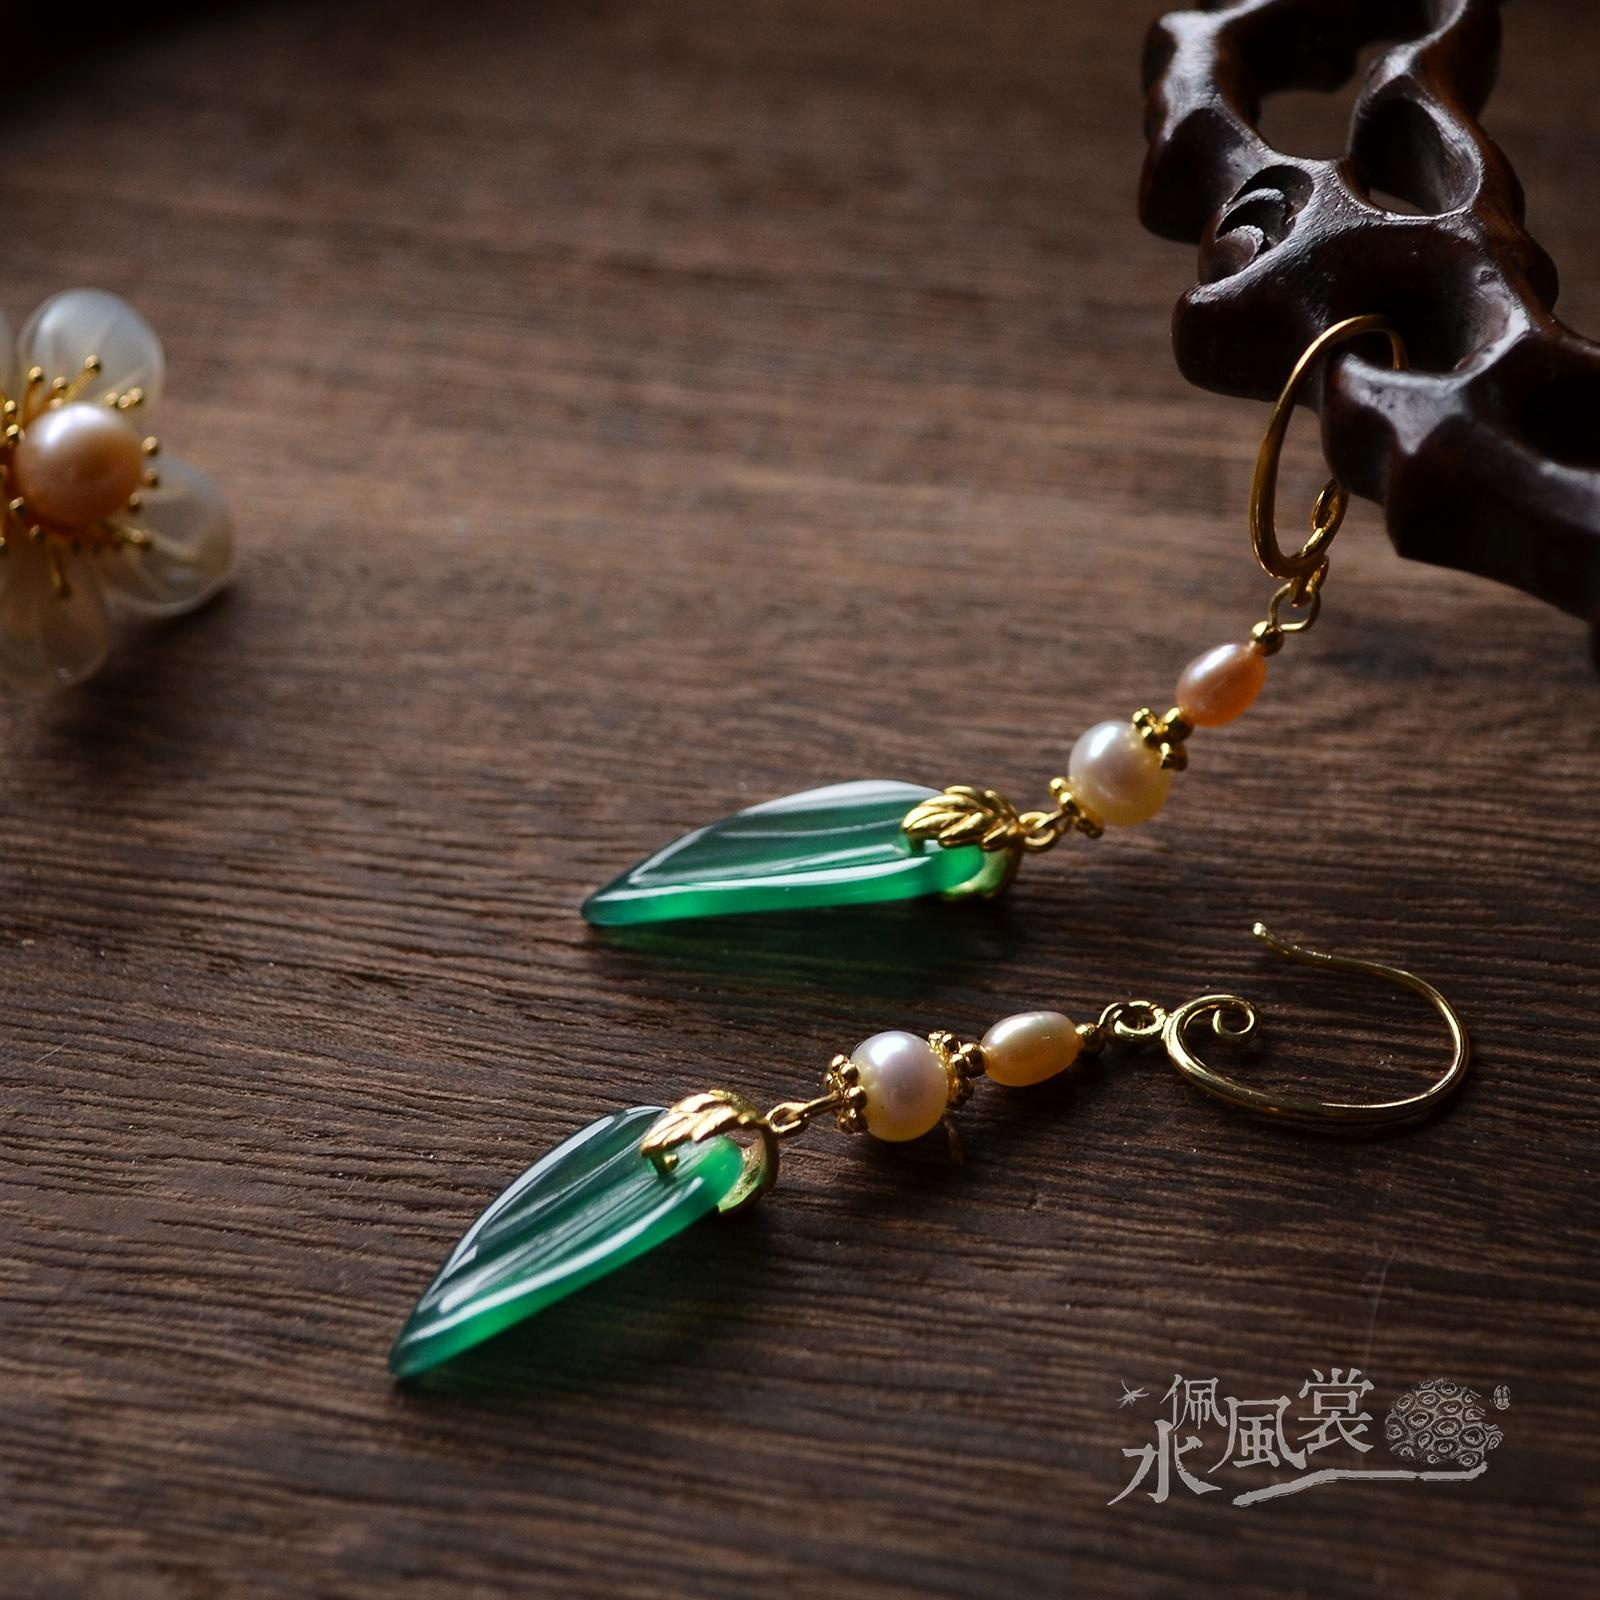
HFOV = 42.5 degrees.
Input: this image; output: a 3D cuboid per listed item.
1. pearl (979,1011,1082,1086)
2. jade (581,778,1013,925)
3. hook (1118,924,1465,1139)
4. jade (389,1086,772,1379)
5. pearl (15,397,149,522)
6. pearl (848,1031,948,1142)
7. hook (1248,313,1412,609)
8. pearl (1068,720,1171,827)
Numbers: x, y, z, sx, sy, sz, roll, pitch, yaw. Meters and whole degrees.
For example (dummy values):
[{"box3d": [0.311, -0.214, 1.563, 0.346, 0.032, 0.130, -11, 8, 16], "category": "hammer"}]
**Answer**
[{"box3d": [0.119, 0.129, 1.070, 0.063, 0.029, 0.028, -11, 24, -3], "category": "pearl"}, {"box3d": [-0.002, 0.031, 1.150, 0.255, 0.042, 0.072, -8, 41, -6], "category": "jade"}, {"box3d": [0.256, 0.130, 1.081, 0.163, 0.021, 0.095, 10, 37, 19], "category": "hook"}, {"box3d": [-0.118, 0.213, 1.024, 0.222, 0.043, 0.077, -26, 56, -19], "category": "jade"}, {"box3d": [-0.430, -0.197, 1.226, 0.055, 0.070, 0.063, 8, 48, 16], "category": "pearl"}, {"box3d": [0.050, 0.148, 1.056, 0.042, 0.053, 0.043, -50, 56, 12], "category": "pearl"}, {"box3d": [0.289, -0.176, 1.135, 0.073, 0.250, 0.118, 5, 50, 13], "category": "hook"}, {"box3d": [0.181, -0.014, 1.162, 0.058, 0.049, 0.052, -27, 83, -6], "category": "pearl"}]
